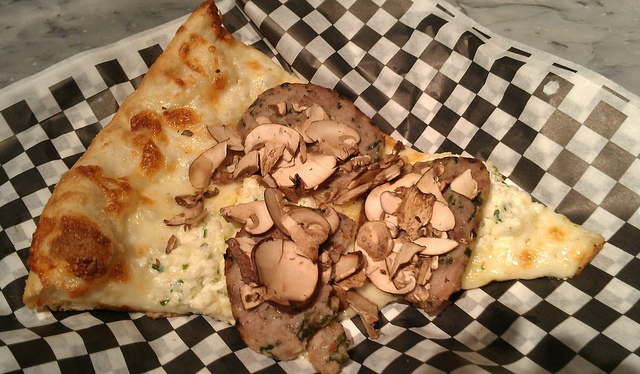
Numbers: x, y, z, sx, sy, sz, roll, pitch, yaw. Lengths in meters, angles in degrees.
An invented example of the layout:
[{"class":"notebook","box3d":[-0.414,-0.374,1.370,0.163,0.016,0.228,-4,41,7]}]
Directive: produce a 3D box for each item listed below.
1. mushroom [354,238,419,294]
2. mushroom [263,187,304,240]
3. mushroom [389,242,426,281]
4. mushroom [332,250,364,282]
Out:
[{"class":"mushroom","box3d":[0.611,0.716,5.234,0.430,0.332,0.088,46,25,-1]},{"class":"mushroom","box3d":[-0.334,0.219,5.111,0.285,0.085,0.438,-29,90,-33]},{"class":"mushroom","box3d":[0.714,0.598,5.078,0.427,0.087,0.154,-41,84,-5]},{"class":"mushroom","box3d":[0.229,0.649,5.089,0.311,0.062,0.186,-29,83,-4]}]
